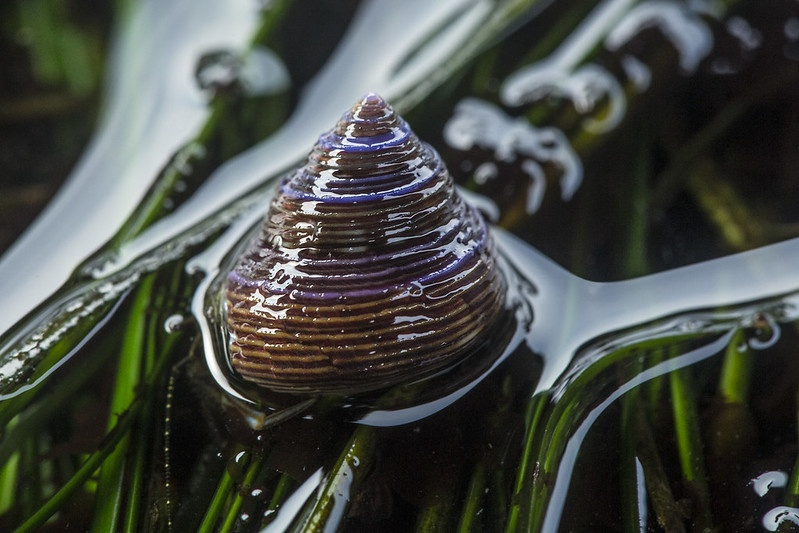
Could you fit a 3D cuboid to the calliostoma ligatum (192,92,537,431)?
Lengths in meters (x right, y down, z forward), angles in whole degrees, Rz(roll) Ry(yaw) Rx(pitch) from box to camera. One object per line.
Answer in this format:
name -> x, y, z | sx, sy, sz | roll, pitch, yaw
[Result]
calliostoma ligatum -> -0.045, -0.004, 1.074 | 0.378, 0.323, 0.196 | 9, -45, 7
